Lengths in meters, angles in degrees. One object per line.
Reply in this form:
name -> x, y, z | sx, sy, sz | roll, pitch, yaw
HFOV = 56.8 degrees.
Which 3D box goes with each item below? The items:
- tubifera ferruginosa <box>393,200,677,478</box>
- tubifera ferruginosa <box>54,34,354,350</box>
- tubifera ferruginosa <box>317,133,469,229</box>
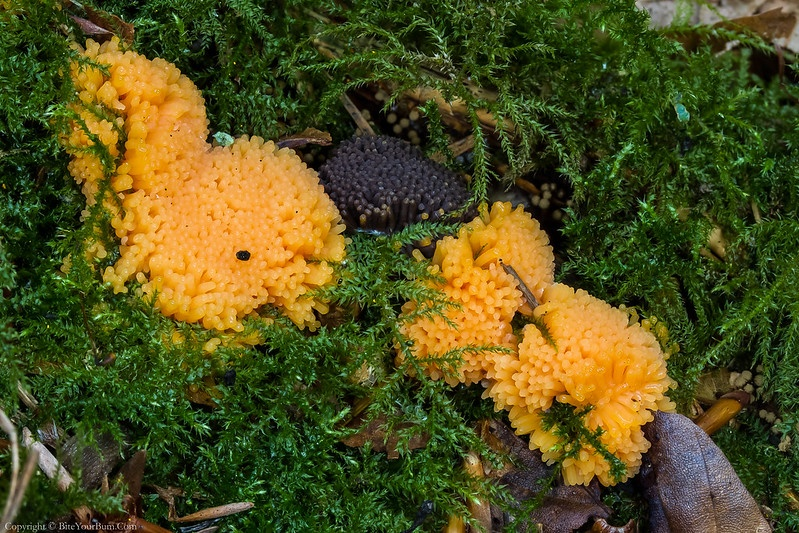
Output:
tubifera ferruginosa -> 0.473, 0.309, 2.974 | 0.760, 0.469, 1.045 | -41, 87, -8
tubifera ferruginosa -> -0.703, -0.233, 2.615 | 1.072, 0.613, 0.675 | 18, 47, -1
tubifera ferruginosa -> -0.016, -0.324, 2.745 | 0.446, 0.241, 0.349 | 9, 56, 0
